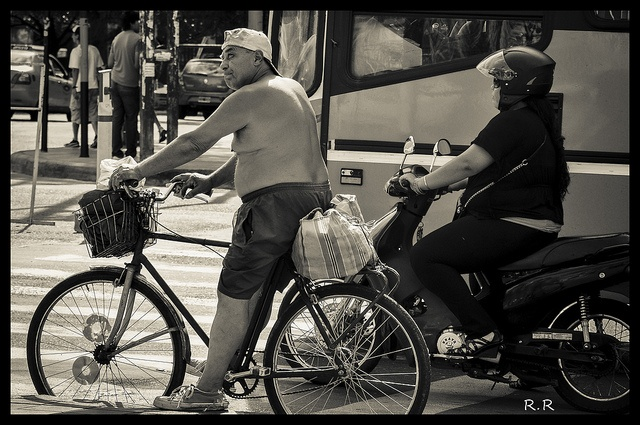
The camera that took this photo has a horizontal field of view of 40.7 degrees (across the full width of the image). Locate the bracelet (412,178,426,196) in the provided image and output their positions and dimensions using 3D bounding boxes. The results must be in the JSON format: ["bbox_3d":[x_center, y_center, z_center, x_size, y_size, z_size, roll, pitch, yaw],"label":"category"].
[{"bbox_3d":[0.814,-0.198,7.098,0.108,0.125,0.139,-5,-22,33],"label":"bracelet"}]

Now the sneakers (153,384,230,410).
[{"bbox_3d":[-1.007,1.409,6.564,0.456,0.134,0.217,3,-7,3],"label":"sneakers"}]

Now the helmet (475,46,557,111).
[{"bbox_3d":[1.621,-1.125,7.180,0.646,0.472,0.498,8,23,27],"label":"helmet"}]

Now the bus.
[{"bbox_3d":[1.253,-0.694,7.555,2.699,1.923,1.063,-1,1,8],"label":"bus"}]

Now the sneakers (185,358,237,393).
[{"bbox_3d":[-0.901,1.256,6.721,0.278,0.113,0.351,3,1,-11],"label":"sneakers"}]

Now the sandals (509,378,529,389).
[{"bbox_3d":[1.623,1.410,7.064,0.103,0.046,0.126,4,-6,9],"label":"sandals"}]

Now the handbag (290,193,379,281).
[{"bbox_3d":[0.073,0.192,6.694,0.559,0.506,0.900,-5,8,23],"label":"handbag"}]

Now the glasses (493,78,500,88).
[{"bbox_3d":[1.432,-1.048,7.038,0.074,0.061,0.053,5,-2,-32],"label":"glasses"}]

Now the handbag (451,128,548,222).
[{"bbox_3d":[1.442,-0.274,6.971,0.147,0.832,0.441,47,6,-44],"label":"handbag"}]

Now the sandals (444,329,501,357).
[{"bbox_3d":[1.199,1.056,6.952,0.389,0.136,0.215,2,-6,3],"label":"sandals"}]

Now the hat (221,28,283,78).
[{"bbox_3d":[-0.531,-1.270,6.699,0.480,0.204,0.318,21,-1,2],"label":"hat"}]

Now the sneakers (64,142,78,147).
[{"bbox_3d":[-5.587,-1.495,19.216,0.317,0.111,0.106,2,0,13],"label":"sneakers"}]

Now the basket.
[{"bbox_3d":[-1.570,0.087,6.741,0.459,0.363,0.555,8,18,26],"label":"basket"}]

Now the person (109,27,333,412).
[{"bbox_3d":[-0.620,0.068,6.627,1.352,2.932,0.565,6,6,-1],"label":"person"}]
